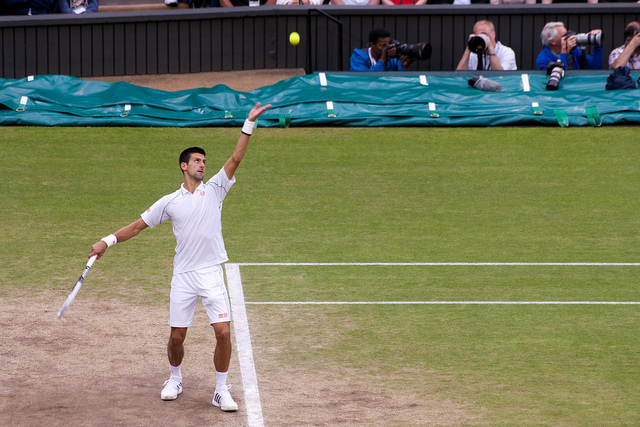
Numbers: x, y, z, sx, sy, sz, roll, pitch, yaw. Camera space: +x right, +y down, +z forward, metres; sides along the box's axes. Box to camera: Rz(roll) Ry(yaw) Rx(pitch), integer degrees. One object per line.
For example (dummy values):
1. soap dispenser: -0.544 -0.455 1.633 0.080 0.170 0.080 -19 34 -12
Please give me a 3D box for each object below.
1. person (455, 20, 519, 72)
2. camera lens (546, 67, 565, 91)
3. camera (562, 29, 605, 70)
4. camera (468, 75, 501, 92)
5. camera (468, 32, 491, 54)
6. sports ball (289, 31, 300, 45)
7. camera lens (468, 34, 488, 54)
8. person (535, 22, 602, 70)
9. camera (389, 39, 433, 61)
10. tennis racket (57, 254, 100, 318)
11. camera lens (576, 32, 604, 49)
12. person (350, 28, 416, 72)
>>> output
1. person: 3.659 -3.531 28.900 1.328 0.871 1.728 14 6 29
2. camera lens: 4.954 -2.802 27.936 0.206 0.508 0.282 -3 -41 45
3. camera: 5.567 -3.639 28.150 0.850 0.365 0.574 -3 17 12
4. camera: 3.501 -2.728 28.001 0.547 0.186 0.314 20 24 19
5. camera: 3.353 -3.563 28.114 0.493 0.281 0.322 28 26 -1
6. sports ball: -0.543 -3.773 28.843 0.299 0.267 0.262 2 -4 2
7. camera lens: 3.376 -3.556 28.120 0.374 0.338 0.406 -33 -1 19
8. person: 5.397 -3.564 28.633 1.356 1.028 0.868 -4 13 -24
9. camera: 1.934 -3.401 28.072 0.713 0.272 0.433 10 16 43
10. tennis racket: -3.785 1.182 20.855 0.227 0.117 1.486 14 43 25
11. camera lens: 5.724 -3.631 28.044 0.553 0.172 0.300 4 5 27
12. person: 1.675 -3.547 29.313 2.016 0.815 1.412 -2 18 -10
